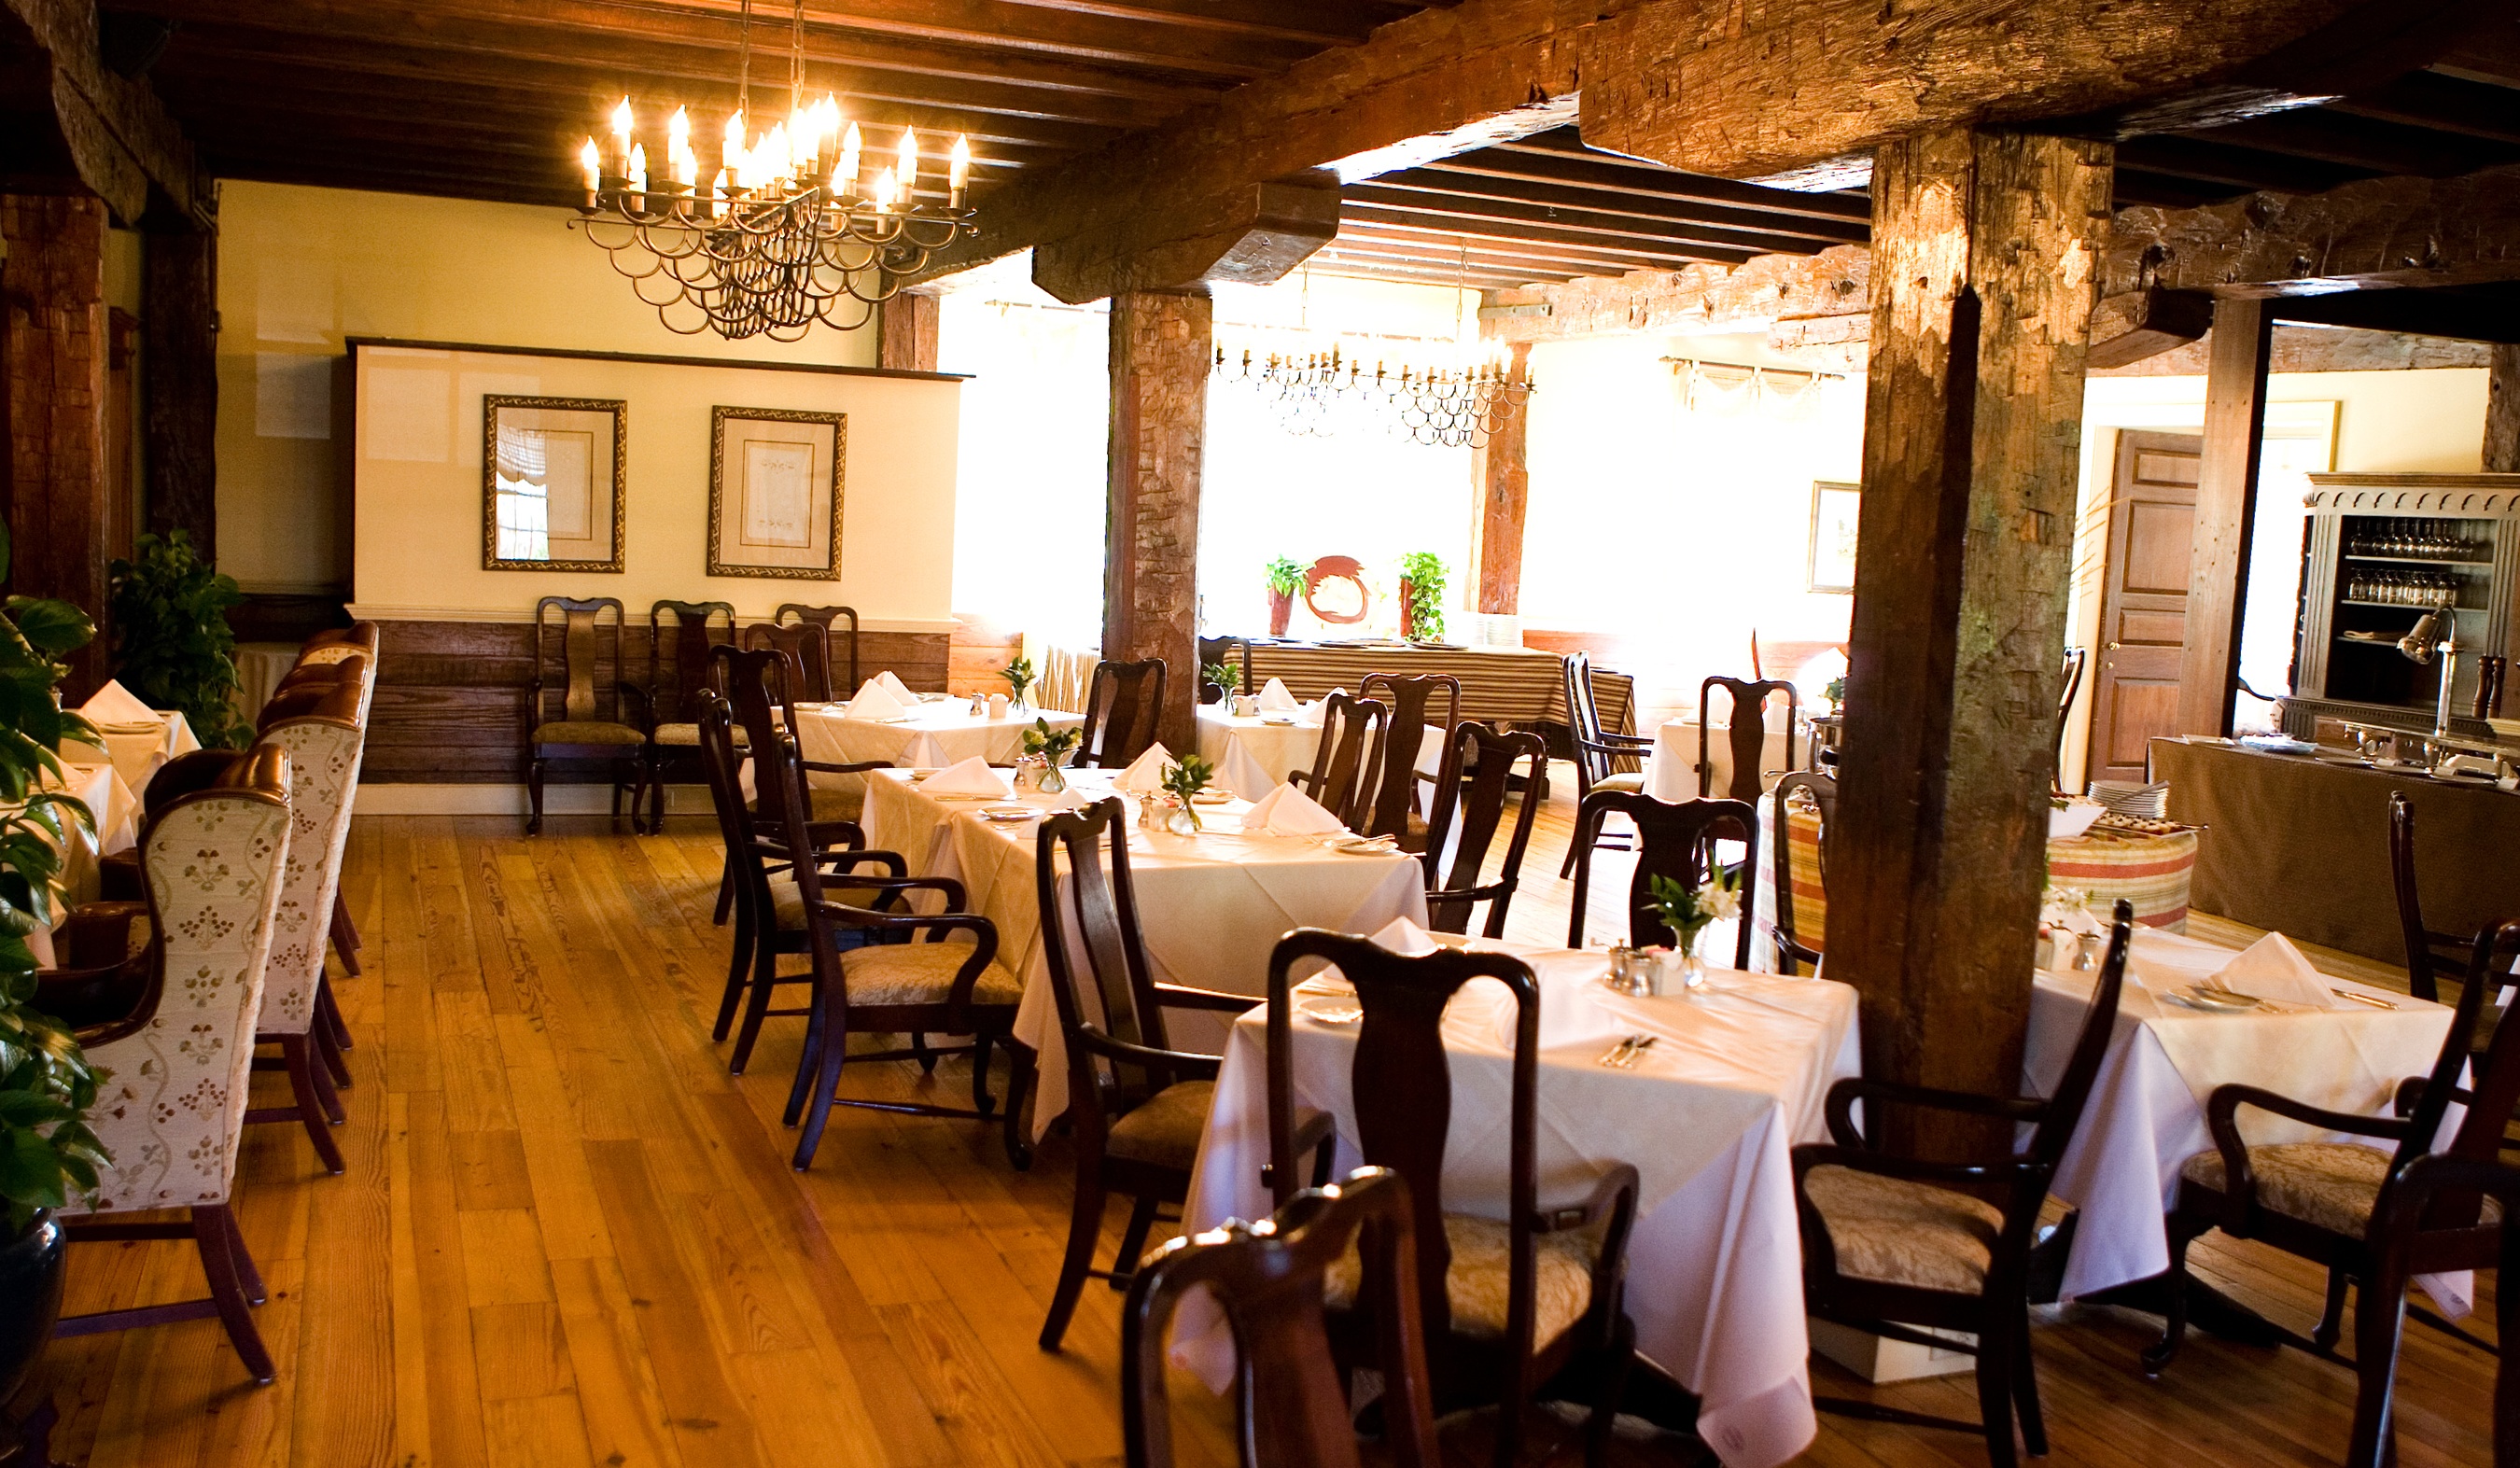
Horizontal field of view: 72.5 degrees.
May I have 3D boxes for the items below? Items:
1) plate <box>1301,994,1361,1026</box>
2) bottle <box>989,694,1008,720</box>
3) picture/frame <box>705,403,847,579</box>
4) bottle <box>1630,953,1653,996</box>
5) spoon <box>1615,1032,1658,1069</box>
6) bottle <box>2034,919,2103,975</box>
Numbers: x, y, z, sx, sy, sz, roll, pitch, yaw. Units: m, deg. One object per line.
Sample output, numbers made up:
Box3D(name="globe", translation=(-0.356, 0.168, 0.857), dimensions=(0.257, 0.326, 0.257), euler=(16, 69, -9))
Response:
Box3D(name="plate", translation=(0.210, 0.826, 5.126), dimensions=(0.187, 0.036, 0.169), euler=(2, 6, 10))
Box3D(name="bottle", translation=(-1.400, -0.144, 9.320), dimensions=(0.133, 0.134, 0.107), euler=(-2, 4, -26))
Box3D(name="picture/frame", translation=(-3.250, -1.673, 11.404), dimensions=(1.186, 1.421, 0.095), euler=(-2, 6, -23))
Box3D(name="bottle", translation=(1.211, 0.749, 5.412), dimensions=(0.072, 0.123, 0.038), euler=(2, 7, 14))
Box3D(name="spoon", translation=(1.095, 0.922, 5.007), dimensions=(0.049, 0.053, 0.183), euler=(-4, 2, 22))
Box3D(name="bottle", translation=(2.706, 0.710, 5.736), dimensions=(0.188, 0.120, 0.182), euler=(0, 0, 0))
